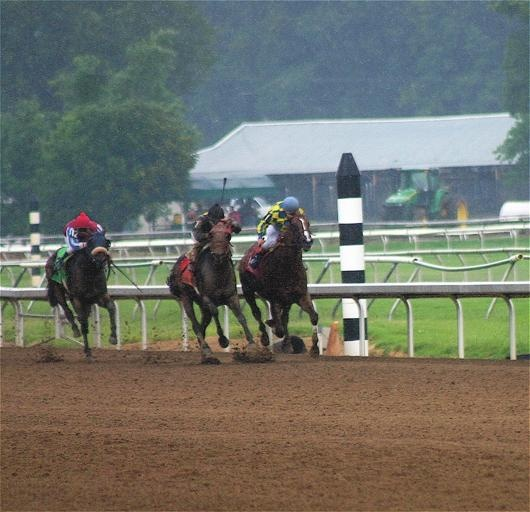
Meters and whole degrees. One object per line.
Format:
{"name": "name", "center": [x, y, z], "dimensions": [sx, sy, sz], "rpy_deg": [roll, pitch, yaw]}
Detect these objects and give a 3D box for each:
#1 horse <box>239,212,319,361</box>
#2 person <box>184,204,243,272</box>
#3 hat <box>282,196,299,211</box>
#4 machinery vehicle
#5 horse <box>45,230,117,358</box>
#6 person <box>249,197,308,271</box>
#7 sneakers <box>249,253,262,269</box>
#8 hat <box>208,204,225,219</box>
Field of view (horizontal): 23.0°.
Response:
{"name": "horse", "center": [0.227, 0.353, 17.068], "dimensions": [0.788, 1.858, 1.554], "rpy_deg": [-1, -3, -17]}
{"name": "person", "center": [-0.657, -0.298, 16.977], "dimensions": [0.505, 0.822, 0.739], "rpy_deg": [0, -3, -30]}
{"name": "hat", "center": [0.343, -0.694, 16.870], "dimensions": [0.159, 0.173, 0.208], "rpy_deg": [4, -1, -15]}
{"name": "machinery vehicle", "center": [4.071, -1.582, 33.267], "dimensions": [1.210, 0.974, 1.992], "rpy_deg": [-2, -1, 17]}
{"name": "horse", "center": [-2.471, 0.517, 17.847], "dimensions": [0.673, 1.644, 1.717], "rpy_deg": [-1, -3, -22]}
{"name": "person", "center": [0.163, -0.354, 17.104], "dimensions": [0.500, 0.618, 1.047], "rpy_deg": [-7, -10, -37]}
{"name": "sneakers", "center": [-0.114, 0.036, 17.119], "dimensions": [0.070, 0.186, 0.139], "rpy_deg": [22, 22, -22]}
{"name": "hat", "center": [-0.639, -0.615, 17.126], "dimensions": [0.186, 0.183, 0.202], "rpy_deg": [3, 14, 8]}
